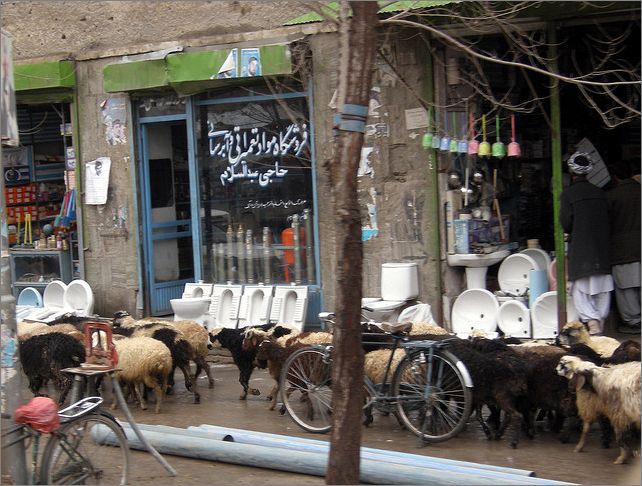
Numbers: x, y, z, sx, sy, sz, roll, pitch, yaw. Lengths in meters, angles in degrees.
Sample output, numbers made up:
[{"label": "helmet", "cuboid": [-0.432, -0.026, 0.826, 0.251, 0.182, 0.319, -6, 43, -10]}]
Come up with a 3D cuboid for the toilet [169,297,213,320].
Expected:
[{"label": "toilet", "cuboid": [-1.935, 0.996, 12.652, 0.517, 0.256, 0.432, -2, 1, 0]}]

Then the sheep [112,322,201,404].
[{"label": "sheep", "cuboid": [-2.049, 1.449, 10.746, 1.208, 0.889, 1.035, 1, 8, 10]}]

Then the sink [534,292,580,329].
[{"label": "sink", "cuboid": [3.064, 0.906, 11.420, 0.814, 0.418, 0.633, 5, 10, 25]}]

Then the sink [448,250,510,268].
[{"label": "sink", "cuboid": [2.231, 0.230, 12.022, 0.789, 0.152, 0.449, -2, 1, -43]}]

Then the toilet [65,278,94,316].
[{"label": "toilet", "cuboid": [-3.909, 0.895, 13.779, 0.398, 0.476, 0.610, -3, 2, -27]}]

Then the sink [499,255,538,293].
[{"label": "sink", "cuboid": [2.775, 0.435, 12.067, 0.632, 0.479, 0.259, 16, 10, 29]}]

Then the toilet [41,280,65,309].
[{"label": "toilet", "cuboid": [-4.441, 0.856, 14.089, 0.620, 0.376, 0.222, -1, 2, 29]}]

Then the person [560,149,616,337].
[{"label": "person", "cuboid": [3.373, 0.016, 10.777, 0.610, 2.303, 0.450, -3, 2, 12]}]
